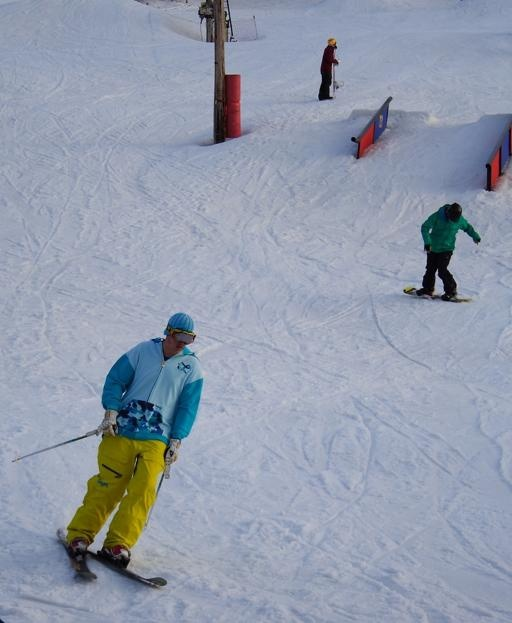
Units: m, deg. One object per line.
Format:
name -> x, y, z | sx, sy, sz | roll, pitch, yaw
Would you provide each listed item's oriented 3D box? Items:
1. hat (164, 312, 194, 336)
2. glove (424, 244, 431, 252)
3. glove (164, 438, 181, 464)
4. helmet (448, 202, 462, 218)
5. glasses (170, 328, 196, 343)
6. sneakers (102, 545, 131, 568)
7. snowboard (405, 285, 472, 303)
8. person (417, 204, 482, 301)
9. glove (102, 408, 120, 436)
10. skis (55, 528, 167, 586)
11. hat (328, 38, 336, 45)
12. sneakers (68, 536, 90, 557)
hat -> -0.540, 0.088, 6.628 | 0.193, 0.155, 0.167 | 23, 7, 15
glove -> 2.241, -0.834, 11.986 | 0.104, 0.089, 0.058 | 26, 45, 33
glove -> -0.570, 1.006, 6.538 | 0.086, 0.201, 0.098 | 11, 15, -14
helmet -> 2.561, -1.298, 11.896 | 0.169, 0.204, 0.189 | 1, 38, 8
glasses -> -0.521, 0.168, 6.563 | 0.131, 0.109, 0.053 | 6, 73, 38
sneakers -> -0.959, 1.680, 6.362 | 0.223, 0.110, 0.116 | 18, -6, 40
snowboard -> 2.456, -0.226, 12.359 | 0.982, 0.145, 0.120 | 9, 8, 28
person -> 2.523, -0.748, 12.181 | 0.689, 1.438, 0.730 | 12, 43, 21
glove -> -1.013, 0.774, 6.427 | 0.178, 0.064, 0.149 | -8, 44, 0
skis -> -1.040, 1.735, 6.456 | 1.073, 0.122, 0.148 | 17, 11, 18
hat -> 1.606, -5.653, 19.364 | 0.124, 0.146, 0.141 | -8, 38, -4
sneakers -> -1.226, 1.630, 6.374 | 0.125, 0.094, 0.149 | -12, -11, 30
